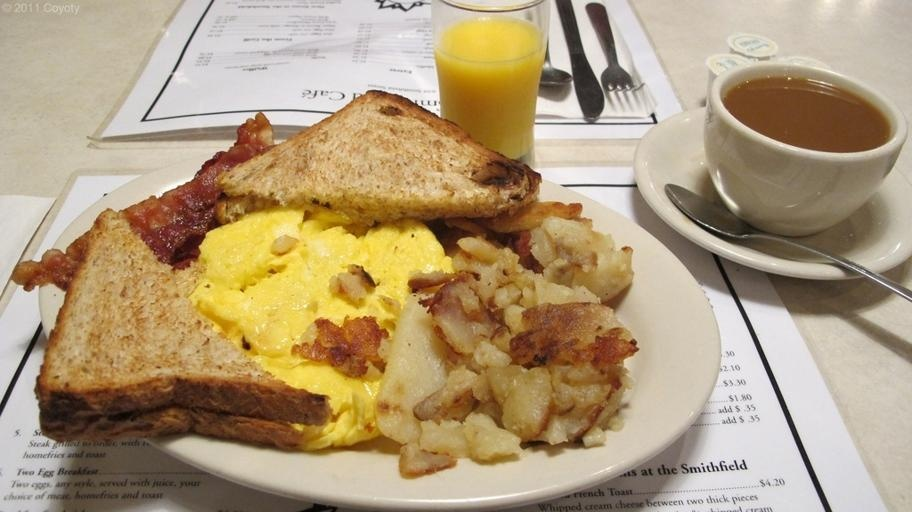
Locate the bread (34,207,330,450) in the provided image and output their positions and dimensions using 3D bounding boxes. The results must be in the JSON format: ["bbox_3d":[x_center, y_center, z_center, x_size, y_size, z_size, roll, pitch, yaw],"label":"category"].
[{"bbox_3d":[-0.845,0.275,2.089,0.745,0.172,0.709,19,35,-13],"label":"bread"}]
